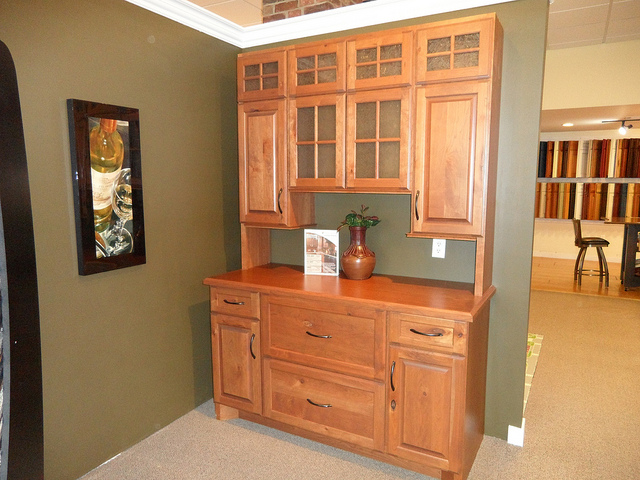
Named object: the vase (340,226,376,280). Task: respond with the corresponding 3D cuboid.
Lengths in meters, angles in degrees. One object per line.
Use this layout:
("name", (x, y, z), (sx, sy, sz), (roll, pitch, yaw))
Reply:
("vase", (0.246, 0.068, 3.179), (0.247, 0.374, 0.255), (9, 14, 33))

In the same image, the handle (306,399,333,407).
("handle", (0.006, 0.993, 2.923), (0.156, 0.029, 0.053), (5, 29, 26))

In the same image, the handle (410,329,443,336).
("handle", (0.570, 0.505, 2.590), (0.167, 0.030, 0.025), (9, 30, 21))

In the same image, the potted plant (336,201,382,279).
("potted plant", (0.264, 0.010, 3.175), (0.264, 0.508, 0.249), (2, -5, -21))

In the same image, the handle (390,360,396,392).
("handle", (0.410, 0.761, 2.691), (0.029, 0.179, 0.014), (2, 7, 9))

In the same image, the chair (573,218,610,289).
("chair", (3.926, 0.149, 6.955), (0.449, 0.991, 0.438), (1, 4, 25))

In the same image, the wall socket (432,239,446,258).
("wall socket", (0.774, 0.045, 3.103), (0.109, 0.164, 0.016), (2, 3, 34))

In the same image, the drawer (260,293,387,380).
("drawer", (0.076, 0.532, 3.069), (0.837, 0.437, 0.485), (4, 10, 20))

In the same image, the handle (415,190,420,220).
("handle", (0.560, -0.208, 2.761), (0.023, 0.167, 0.016), (6, 9, 34))
